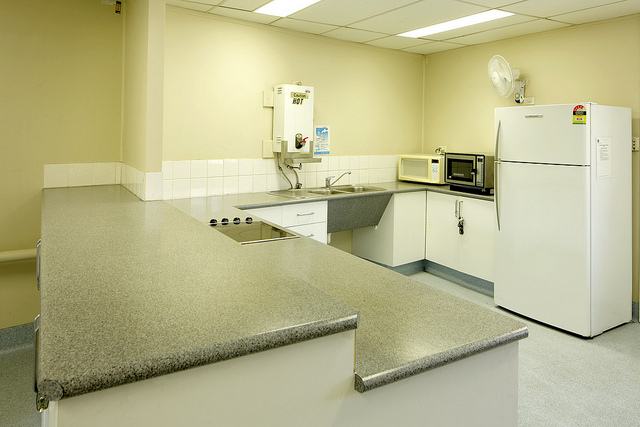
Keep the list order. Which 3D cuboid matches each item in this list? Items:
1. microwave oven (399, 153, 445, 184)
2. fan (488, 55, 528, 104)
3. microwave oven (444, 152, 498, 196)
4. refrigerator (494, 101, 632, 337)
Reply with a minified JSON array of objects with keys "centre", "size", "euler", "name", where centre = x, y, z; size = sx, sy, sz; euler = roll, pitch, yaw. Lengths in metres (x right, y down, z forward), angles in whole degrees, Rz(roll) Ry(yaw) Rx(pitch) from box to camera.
[{"centre":[1.186,-0.518,5.203],"size":[0.339,0.300,0.585],"euler":[-3,7,-28],"name":"microwave oven"},{"centre":[1.941,-1.346,4.563],"size":[0.330,0.500,0.371],"euler":[-15,3,-23],"name":"fan"},{"centre":[1.631,-0.462,4.734],"size":[0.359,0.341,0.548],"euler":[-7,12,-32],"name":"microwave oven"},{"centre":[2.118,0.017,3.867],"size":[1.259,1.890,0.666],"euler":[6,16,20],"name":"refrigerator"}]
